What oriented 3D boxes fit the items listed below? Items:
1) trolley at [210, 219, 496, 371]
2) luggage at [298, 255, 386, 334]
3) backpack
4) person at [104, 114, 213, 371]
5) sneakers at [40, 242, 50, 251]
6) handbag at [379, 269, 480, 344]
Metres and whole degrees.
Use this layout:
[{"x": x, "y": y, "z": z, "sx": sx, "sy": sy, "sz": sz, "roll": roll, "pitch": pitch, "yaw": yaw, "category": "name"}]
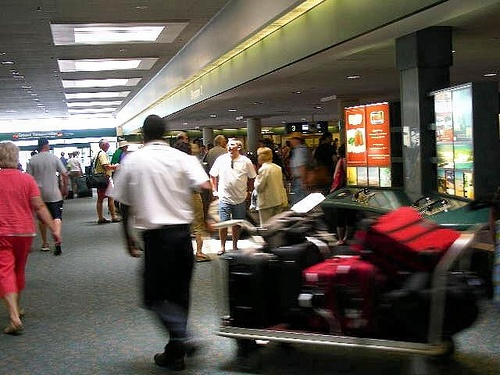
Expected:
[{"x": 0.590, "y": 0.612, "z": 2.769, "sx": 2.004, "sy": 0.811, "sz": 1.053, "roll": -1, "pitch": 2, "yaw": 19, "category": "trolley"}, {"x": 0.614, "y": 0.719, "z": 2.554, "sx": 0.590, "sy": 0.334, "sz": 0.500, "roll": -2, "pitch": -3, "yaw": 8, "category": "luggage"}, {"x": 0.269, "y": 0.315, "z": 2.924, "sx": 0.309, "sy": 0.128, "sz": 0.344, "roll": -16, "pitch": 1, "yaw": 0, "category": "backpack"}, {"x": -0.644, "y": 0.406, "z": 2.775, "sx": 0.705, "sy": 1.615, "sz": 0.386, "roll": -7, "pitch": 3, "yaw": -15, "category": "person"}, {"x": -4.717, "y": 1.319, "z": 8.280, "sx": 0.149, "sy": 0.135, "sz": 0.366, "roll": 1, "pitch": -4, "yaw": -19, "category": "sneakers"}, {"x": 1.141, "y": 0.733, "z": 2.306, "sx": 0.764, "sy": 0.465, "sz": 0.237, "roll": -5, "pitch": 2, "yaw": -21, "category": "handbag"}]
